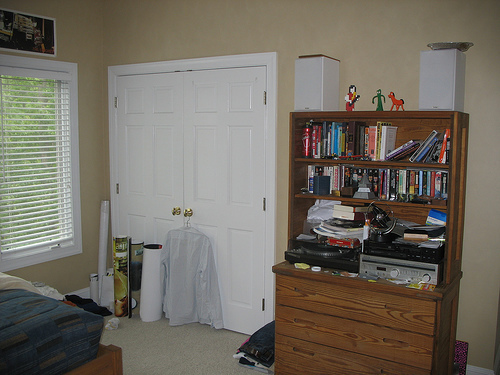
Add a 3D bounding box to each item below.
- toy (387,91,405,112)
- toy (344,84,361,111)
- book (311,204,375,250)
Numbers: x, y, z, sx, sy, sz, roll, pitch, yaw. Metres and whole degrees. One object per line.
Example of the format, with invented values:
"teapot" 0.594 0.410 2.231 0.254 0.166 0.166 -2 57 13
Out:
"toy" 1.109 -0.657 2.987 0.115 0.141 0.290 1 14 20
"toy" 0.799 -0.707 3.089 0.100 0.205 0.337 0 14 19
"book" 0.699 0.289 3.051 0.305 0.130 0.410 6 7 38
